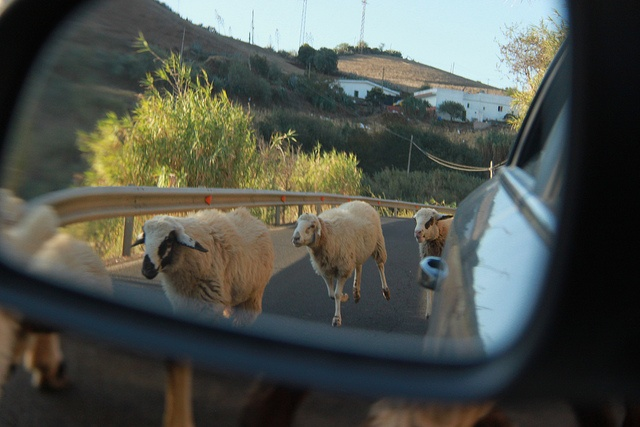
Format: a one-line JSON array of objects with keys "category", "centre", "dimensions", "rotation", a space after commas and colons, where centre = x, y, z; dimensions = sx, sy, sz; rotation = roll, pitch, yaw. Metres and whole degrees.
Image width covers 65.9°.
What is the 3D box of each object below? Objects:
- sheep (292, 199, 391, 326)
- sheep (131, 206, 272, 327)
[{"category": "sheep", "centre": [0.288, 0.621, 6.256], "dimensions": [0.550, 1.486, 1.912], "rotation": [1, 7, 33]}, {"category": "sheep", "centre": [-0.961, 0.520, 4.481], "dimensions": [0.771, 1.098, 1.438], "rotation": [8, 7, 34]}]
